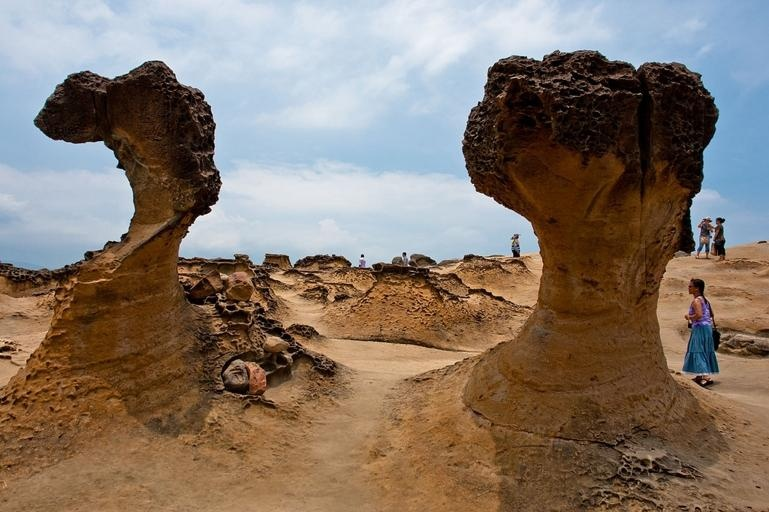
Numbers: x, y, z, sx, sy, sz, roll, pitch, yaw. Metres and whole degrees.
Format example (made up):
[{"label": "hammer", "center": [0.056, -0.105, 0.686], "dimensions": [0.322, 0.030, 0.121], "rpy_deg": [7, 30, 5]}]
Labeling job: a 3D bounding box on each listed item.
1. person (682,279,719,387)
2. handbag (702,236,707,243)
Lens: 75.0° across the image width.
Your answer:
[{"label": "person", "center": [4.193, 1.005, 6.668], "dimensions": [0.391, 1.414, 0.766], "rpy_deg": [0, 1, 31]}, {"label": "handbag", "center": [10.216, -0.528, 16.044], "dimensions": [0.165, 0.197, 0.126], "rpy_deg": [21, 0, -6]}]
